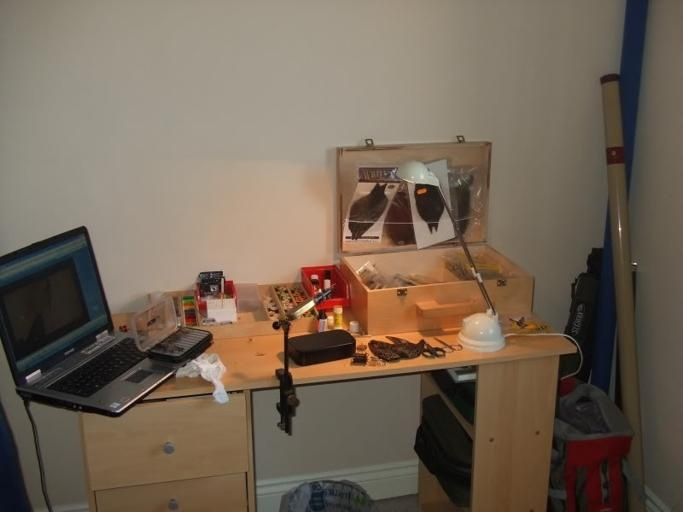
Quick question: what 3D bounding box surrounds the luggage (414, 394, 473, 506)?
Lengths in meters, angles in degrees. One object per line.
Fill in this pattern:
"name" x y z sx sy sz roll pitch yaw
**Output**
"luggage" 0.445 0.835 2.176 0.103 0.385 0.279 -5 12 -15
